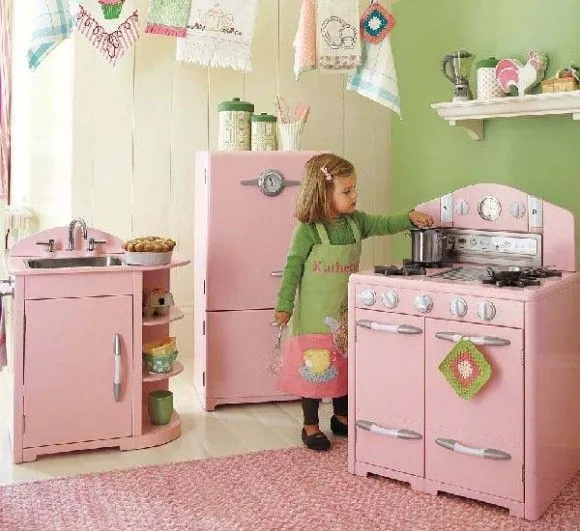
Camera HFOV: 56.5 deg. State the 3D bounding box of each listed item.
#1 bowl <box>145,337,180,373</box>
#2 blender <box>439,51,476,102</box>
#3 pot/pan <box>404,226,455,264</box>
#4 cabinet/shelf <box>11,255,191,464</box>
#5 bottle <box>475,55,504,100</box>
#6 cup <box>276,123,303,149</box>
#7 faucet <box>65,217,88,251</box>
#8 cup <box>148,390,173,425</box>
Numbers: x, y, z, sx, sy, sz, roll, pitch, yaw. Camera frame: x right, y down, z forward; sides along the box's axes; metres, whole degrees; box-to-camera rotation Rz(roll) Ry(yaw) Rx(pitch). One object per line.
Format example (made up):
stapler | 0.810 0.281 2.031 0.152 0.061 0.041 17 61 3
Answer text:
bowl | -0.519 0.360 2.209 0.128 0.103 0.123 -1 -5 0
blender | 0.806 -0.905 2.610 0.146 0.258 0.177 1 5 15
pot/pan | 0.517 -0.073 1.982 0.207 0.132 0.132 1 1 30
cabinet/shelf | -0.725 0.356 2.014 0.794 0.792 0.340 -1 3 -26
bottle | 0.921 -0.857 2.483 0.115 0.205 0.117 0 5 0
cup | -0.004 -0.640 2.718 0.134 0.127 0.137 -1 8 0
faucet | -0.933 -0.139 2.380 0.086 0.142 0.313 -2 5 -22
cup | -0.517 0.580 2.237 0.101 0.109 0.125 0 -1 -4
